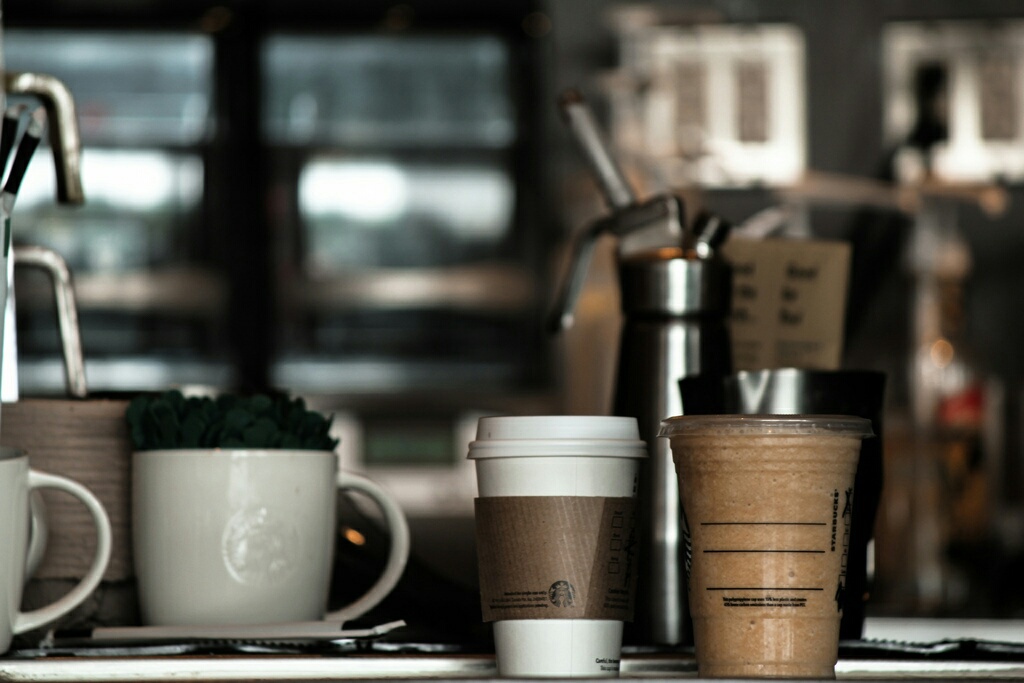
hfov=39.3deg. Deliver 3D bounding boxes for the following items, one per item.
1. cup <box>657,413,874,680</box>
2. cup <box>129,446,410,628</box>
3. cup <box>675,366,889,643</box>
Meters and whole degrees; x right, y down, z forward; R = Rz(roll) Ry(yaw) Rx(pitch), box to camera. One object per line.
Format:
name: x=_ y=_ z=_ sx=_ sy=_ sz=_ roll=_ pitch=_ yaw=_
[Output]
cup: x=0.161 y=0.183 z=1.256 sx=0.244 sy=0.221 sz=0.209 roll=0 pitch=-11 yaw=0
cup: x=-0.225 y=0.188 z=1.313 sx=0.233 sy=0.135 sz=0.139 roll=3 pitch=-8 yaw=-15
cup: x=0.273 y=0.188 z=1.505 sx=0.246 sy=0.292 sz=0.331 roll=-1 pitch=-7 yaw=14
